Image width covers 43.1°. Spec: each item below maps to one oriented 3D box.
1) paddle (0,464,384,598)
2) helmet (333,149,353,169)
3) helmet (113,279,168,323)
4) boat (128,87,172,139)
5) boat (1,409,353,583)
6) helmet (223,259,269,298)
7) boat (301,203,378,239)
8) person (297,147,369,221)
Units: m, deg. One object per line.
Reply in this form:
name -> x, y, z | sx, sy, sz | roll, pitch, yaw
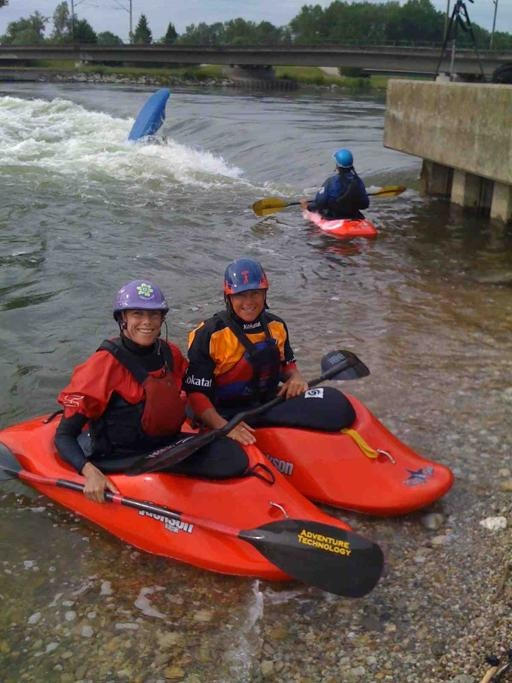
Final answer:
paddle -> -0.269, 0.891, 3.003 | 2.054, 0.149, 0.235 | 8, 51, 17
helmet -> 1.245, -2.594, 9.232 | 0.262, 0.274, 0.325 | 1, 15, 6
helmet -> -0.557, -0.189, 3.105 | 0.234, 0.167, 0.158 | -4, 16, -13
boat -> -2.949, -6.193, 17.689 | 1.039, 1.517, 2.127 | -1, 15, -4
boat -> -0.580, 0.784, 3.327 | 1.945, 0.384, 0.619 | 14, 17, 25
helmet -> -0.065, -0.355, 3.585 | 0.195, 0.187, 0.239 | -8, 20, -3
boat -> 1.180, -1.779, 9.684 | 0.420, 0.170, 1.292 | 4, 13, -21
person -> 1.261, -2.163, 9.465 | 0.726, 0.840, 1.291 | -9, 31, -5
